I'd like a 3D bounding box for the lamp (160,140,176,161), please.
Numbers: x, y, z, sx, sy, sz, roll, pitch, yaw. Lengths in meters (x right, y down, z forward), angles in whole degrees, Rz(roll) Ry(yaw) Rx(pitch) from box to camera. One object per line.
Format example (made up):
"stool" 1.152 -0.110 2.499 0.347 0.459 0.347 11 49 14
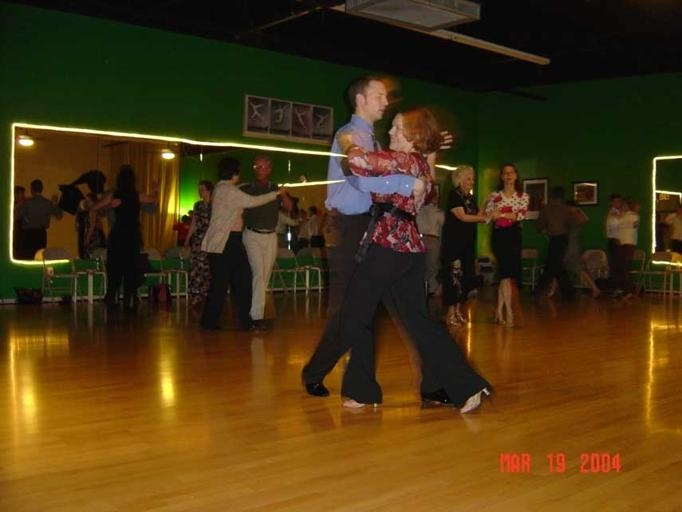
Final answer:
"lamp" -3.159 -1.908 10.517 0.265 0.283 0.261 2 -14 -8

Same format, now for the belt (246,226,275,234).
"belt" -0.894 -0.282 6.313 0.321 0.074 0.067 2 2 -13

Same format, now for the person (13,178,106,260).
"person" -4.832 -0.592 9.750 1.390 1.639 0.436 -3 7 -34

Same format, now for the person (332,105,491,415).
"person" 0.394 0.009 3.391 0.884 1.779 0.346 2 3 -10

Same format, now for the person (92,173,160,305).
"person" -3.084 -0.208 8.236 0.897 2.071 0.616 2 -6 -9

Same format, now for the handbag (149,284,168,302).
"handbag" -3.173 0.659 10.046 0.349 0.328 0.247 -2 5 -1

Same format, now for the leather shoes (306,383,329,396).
"leather shoes" -0.149 0.829 3.569 0.134 0.055 0.075 -13 -12 42

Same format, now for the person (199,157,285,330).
"person" -1.188 -0.112 6.359 0.924 1.918 0.425 3 3 25

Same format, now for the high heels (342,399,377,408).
"high heels" 0.105 0.885 3.437 0.213 0.059 0.082 4 -5 -12

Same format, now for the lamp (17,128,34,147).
"lamp" -5.128 -1.912 9.386 0.244 0.237 0.237 1 -4 -25

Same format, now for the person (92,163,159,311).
"person" -3.009 -0.251 8.009 0.640 1.981 0.403 1 3 -23
